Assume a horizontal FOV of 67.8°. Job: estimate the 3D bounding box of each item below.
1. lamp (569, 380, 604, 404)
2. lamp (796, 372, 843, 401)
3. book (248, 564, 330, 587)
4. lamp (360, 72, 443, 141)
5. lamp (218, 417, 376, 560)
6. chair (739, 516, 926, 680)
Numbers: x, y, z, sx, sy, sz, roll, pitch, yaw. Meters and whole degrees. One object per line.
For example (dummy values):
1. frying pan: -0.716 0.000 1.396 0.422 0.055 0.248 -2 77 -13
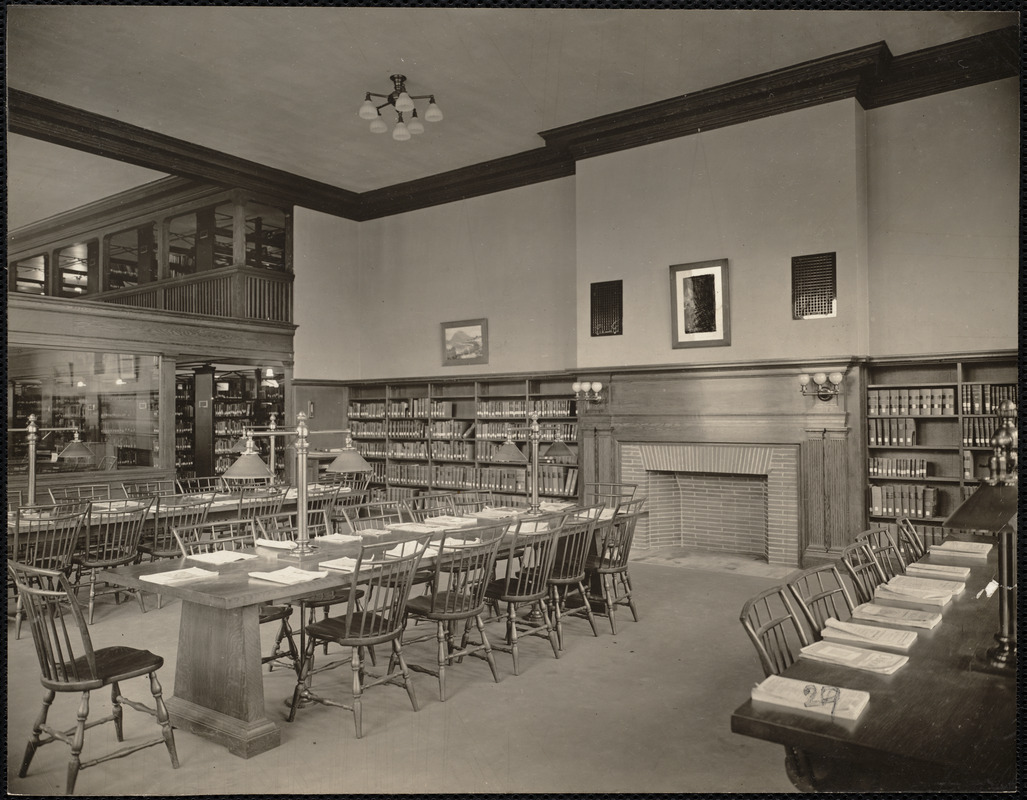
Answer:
1. lamp: 0.919 -0.110 9.587 0.424 0.284 0.129 -3 1 39
2. lamp: 3.234 -0.157 8.079 0.288 0.217 0.104 -4 -6 44
3. book: -1.364 1.061 4.641 0.413 0.047 0.406 -3 0 -41
4. lamp: -1.345 -3.344 8.888 0.898 0.725 0.951 -1 -3 -23
5. lamp: -2.240 0.874 7.691 0.471 1.417 1.353 -3 -3 42
6. chair: 2.150 1.284 5.132 0.980 0.981 0.651 -3 0 -43
